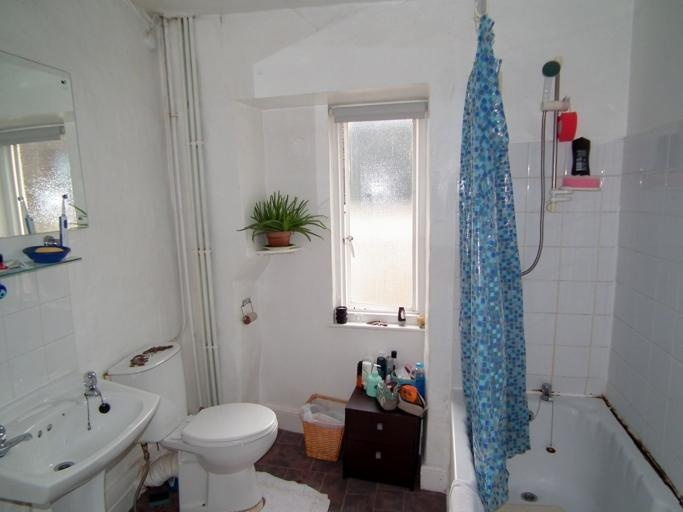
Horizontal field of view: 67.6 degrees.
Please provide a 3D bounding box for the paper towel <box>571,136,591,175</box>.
[{"bbox_3d":[1.347,-0.542,2.864,0.094,0.221,0.121,4,-3,18],"label":"paper towel"}]

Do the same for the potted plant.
[{"bbox_3d":[-0.405,-0.260,3.518,0.612,0.378,0.320,-2,7,-13],"label":"potted plant"}]

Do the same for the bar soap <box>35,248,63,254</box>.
[{"bbox_3d":[-1.449,-0.032,2.521,0.118,0.028,0.036,-3,7,-27],"label":"bar soap"}]

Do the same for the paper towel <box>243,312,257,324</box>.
[{"bbox_3d":[-0.645,0.418,3.539,0.050,0.037,0.090,1,5,10],"label":"paper towel"}]

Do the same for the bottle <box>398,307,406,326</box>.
[{"bbox_3d":[0.425,0.412,3.615,0.057,0.119,0.130,1,7,6],"label":"bottle"}]

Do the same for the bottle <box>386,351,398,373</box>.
[{"bbox_3d":[0.351,0.714,3.512,0.070,0.146,0.114,1,7,6],"label":"bottle"}]

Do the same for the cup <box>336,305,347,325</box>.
[{"bbox_3d":[-0.006,0.417,3.684,0.101,0.110,0.102,3,8,0],"label":"cup"}]

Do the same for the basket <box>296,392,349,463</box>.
[{"bbox_3d":[-0.106,1.154,3.590,0.337,0.430,0.365,2,3,10],"label":"basket"}]

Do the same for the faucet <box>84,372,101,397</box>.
[{"bbox_3d":[-1.286,0.653,2.616,0.101,0.125,0.112,1,2,-7],"label":"faucet"}]

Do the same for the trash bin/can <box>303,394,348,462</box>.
[{"bbox_3d":[-0.100,1.137,3.553,0.327,0.330,0.395,2,2,9],"label":"trash bin/can"}]
